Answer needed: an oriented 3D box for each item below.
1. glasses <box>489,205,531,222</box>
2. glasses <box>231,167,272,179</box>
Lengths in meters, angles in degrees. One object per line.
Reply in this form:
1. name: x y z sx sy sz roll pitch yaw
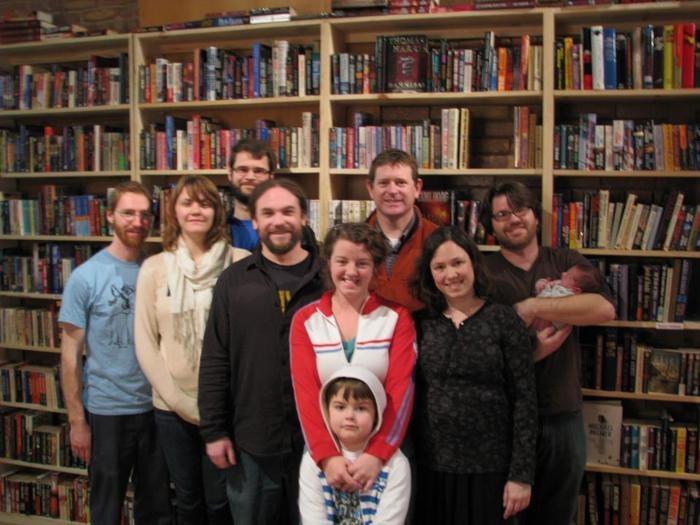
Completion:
1. glasses: 0.873 -0.257 3.980 0.176 0.073 0.045 0 1 24
2. glasses: -0.620 -0.579 4.561 0.230 0.061 0.064 -1 1 -14
